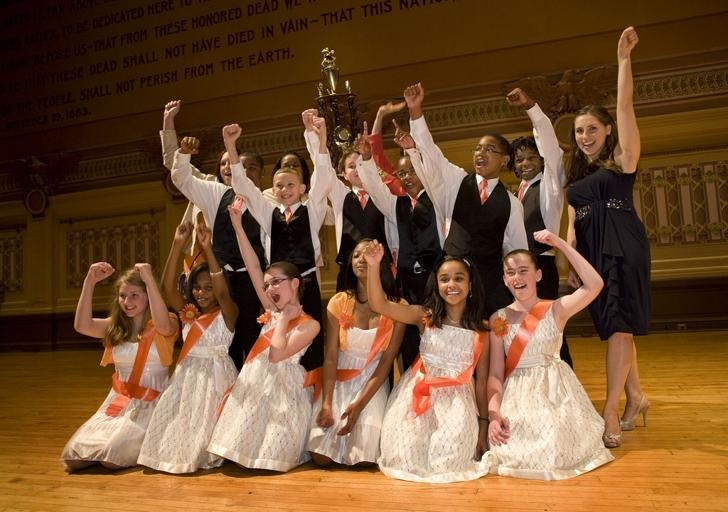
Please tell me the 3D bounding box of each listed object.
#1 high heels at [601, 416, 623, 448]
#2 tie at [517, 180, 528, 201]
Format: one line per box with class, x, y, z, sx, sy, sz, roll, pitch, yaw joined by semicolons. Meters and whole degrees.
high heels;1.692;1.212;4.323;0.074;0.072;0.255;-8;4;14
tie;1.279;-0.516;5.021;0.048;0.152;0.102;15;6;-20
